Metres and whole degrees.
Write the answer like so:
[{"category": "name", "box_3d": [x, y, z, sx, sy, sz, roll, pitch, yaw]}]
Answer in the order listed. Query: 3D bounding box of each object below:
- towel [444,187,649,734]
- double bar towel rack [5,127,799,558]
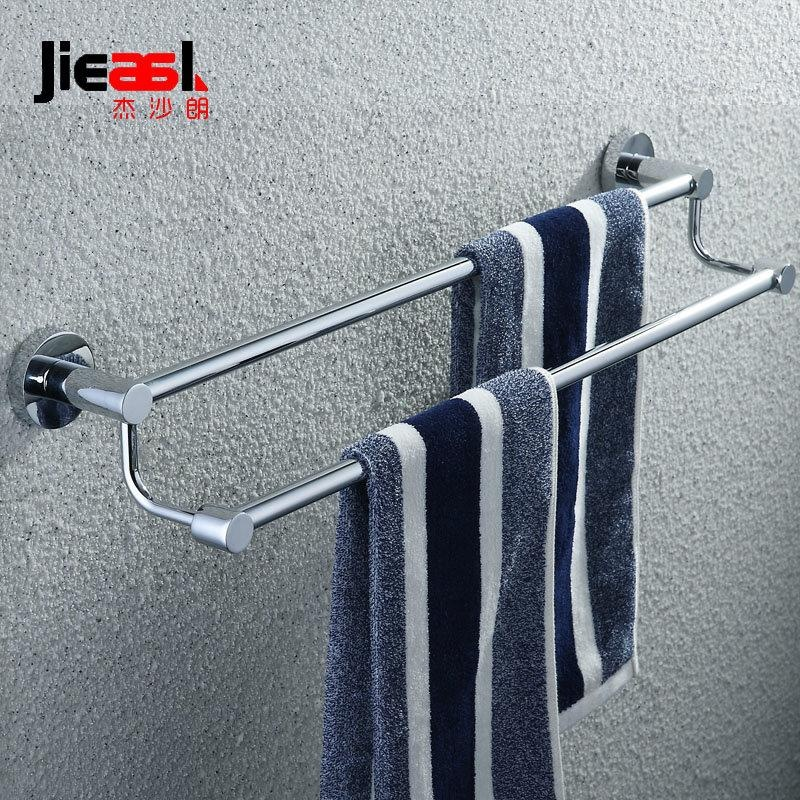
[{"category": "towel", "box_3d": [0.108, 0.039, 0.850, 0.058, 0.563, 0.238, 11, 22, 34]}, {"category": "double bar towel rack", "box_3d": [0.038, -0.072, 0.841, 0.646, 0.152, 0.199, -19, 25, -36]}]
